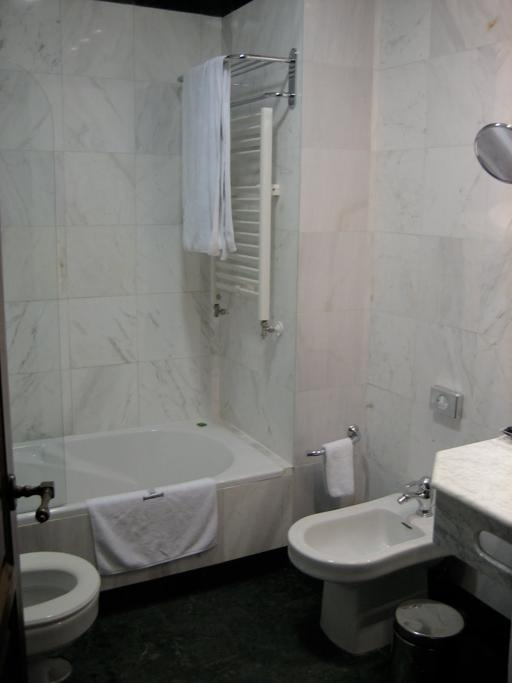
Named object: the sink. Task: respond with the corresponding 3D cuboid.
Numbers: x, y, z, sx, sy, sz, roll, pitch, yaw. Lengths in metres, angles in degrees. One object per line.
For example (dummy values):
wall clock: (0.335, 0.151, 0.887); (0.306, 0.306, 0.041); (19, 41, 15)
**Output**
sink: (0.392, 0.725, 1.989); (0.517, 0.272, 0.339); (-9, 17, -33)
